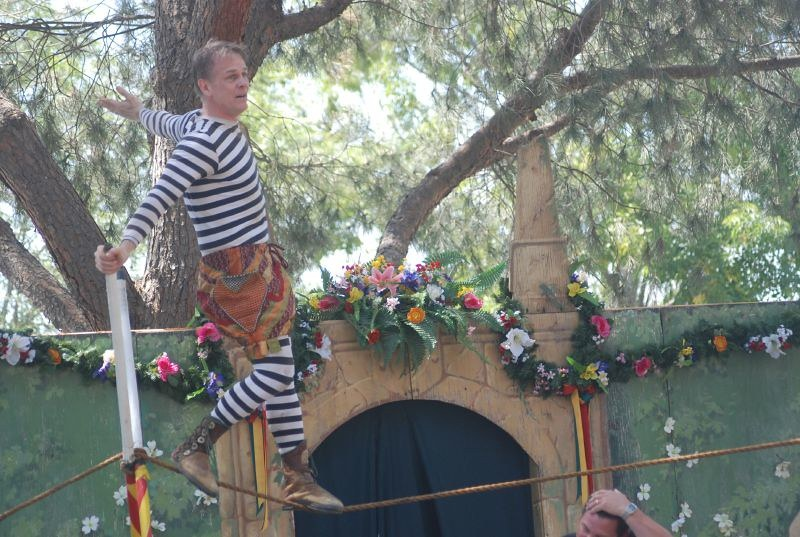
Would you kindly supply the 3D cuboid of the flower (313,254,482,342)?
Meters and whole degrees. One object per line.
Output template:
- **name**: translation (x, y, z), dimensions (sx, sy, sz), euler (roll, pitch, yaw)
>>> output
- **flower**: translation (-0.030, 0.565, 22.651), dimensions (1.425, 0.712, 1.749), euler (-5, 10, 20)

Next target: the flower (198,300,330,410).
- **flower**: translation (-1.387, 0.858, 22.684), dimensions (0.939, 1.233, 0.494), euler (4, -13, -21)

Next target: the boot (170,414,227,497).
- **boot**: translation (-1.995, 1.918, 21.239), dimensions (0.639, 0.665, 0.298), euler (32, -6, 33)

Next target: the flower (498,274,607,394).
- **flower**: translation (1.732, 0.817, 23.052), dimensions (0.905, 1.363, 0.428), euler (-17, -2, 1)

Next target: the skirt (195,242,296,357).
- **skirt**: translation (-1.501, 0.277, 21.500), dimensions (0.757, 1.102, 0.924), euler (0, 13, 16)
